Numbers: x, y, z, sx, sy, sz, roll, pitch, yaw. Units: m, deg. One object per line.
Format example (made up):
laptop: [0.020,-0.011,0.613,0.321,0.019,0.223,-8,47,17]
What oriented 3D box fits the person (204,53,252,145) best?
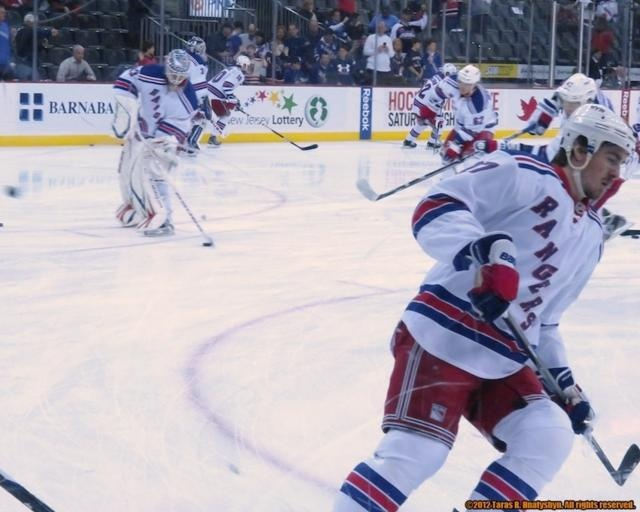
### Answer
person: [-1.278,-2.193,11.586,0.597,1.307,1.635,-1,11,-6]

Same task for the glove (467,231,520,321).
glove: [0.423,0.049,2.020,0.113,0.206,0.086,2,12,5]

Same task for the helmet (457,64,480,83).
helmet: [1.486,-1.804,8.237,0.203,0.182,0.345,2,10,7]

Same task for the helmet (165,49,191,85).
helmet: [-1.067,-1.417,6.200,0.192,0.270,0.265,-1,11,-10]

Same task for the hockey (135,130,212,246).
hockey: [-1.205,-0.547,6.104,0.291,0.758,0.336,1,12,4]

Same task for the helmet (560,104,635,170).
helmet: [0.735,-0.325,2.276,0.232,0.159,0.173,12,10,14]

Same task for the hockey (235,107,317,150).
hockey: [-0.736,-1.988,12.834,1.642,0.200,0.281,28,29,15]
